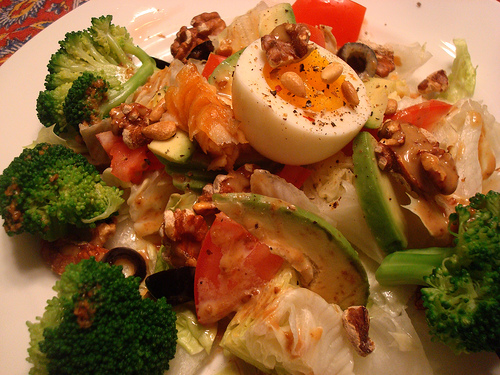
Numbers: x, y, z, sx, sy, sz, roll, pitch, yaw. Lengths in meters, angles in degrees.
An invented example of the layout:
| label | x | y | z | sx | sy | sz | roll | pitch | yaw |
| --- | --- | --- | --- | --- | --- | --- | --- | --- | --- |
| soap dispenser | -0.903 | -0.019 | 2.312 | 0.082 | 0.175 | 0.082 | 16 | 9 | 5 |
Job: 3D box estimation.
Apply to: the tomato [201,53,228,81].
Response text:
| label | x | y | z | sx | sy | sz | roll | pitch | yaw |
| --- | --- | --- | --- | --- | --- | --- | --- | --- | --- |
| tomato | -0.264 | -0.904 | 3.514 | 0.182 | 0.054 | 0.170 | -65 | 32 | 17 |
